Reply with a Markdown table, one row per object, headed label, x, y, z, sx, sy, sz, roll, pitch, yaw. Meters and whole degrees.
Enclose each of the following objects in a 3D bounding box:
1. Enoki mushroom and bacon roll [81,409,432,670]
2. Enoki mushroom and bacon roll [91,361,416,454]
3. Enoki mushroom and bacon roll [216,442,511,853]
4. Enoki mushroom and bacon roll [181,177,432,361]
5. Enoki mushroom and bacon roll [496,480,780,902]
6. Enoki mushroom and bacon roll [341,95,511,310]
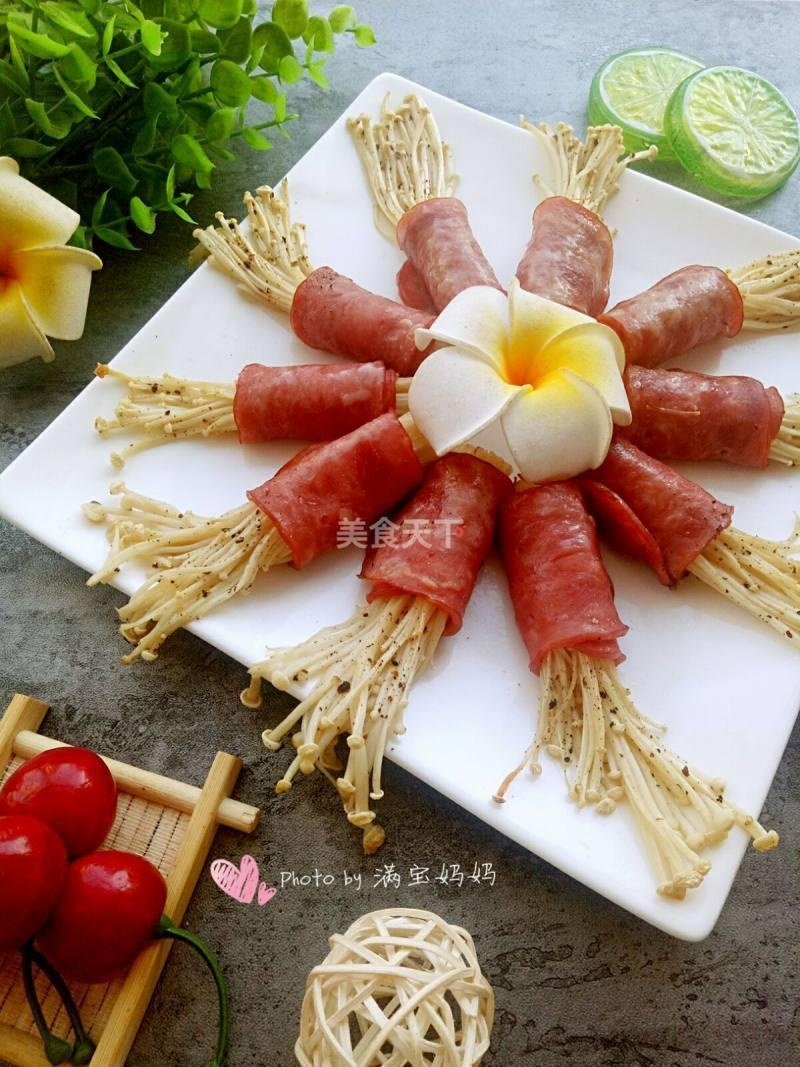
| label | x | y | z | sx | sy | sz | roll | pitch | yaw |
| --- | --- | --- | --- | --- | --- | --- | --- | --- | --- |
| Enoki mushroom and bacon roll | -0.188 | -0.023 | 1.318 | 0.469 | 0.122 | 0.253 | -25 | 46 | 3 |
| Enoki mushroom and bacon roll | -0.185 | -0.189 | 1.392 | 0.521 | 0.109 | 0.111 | -2 | 22 | 0 |
| Enoki mushroom and bacon roll | 0.008 | 0.149 | 1.341 | 0.293 | 0.182 | 0.522 | 22 | 68 | 29 |
| Enoki mushroom and bacon roll | -0.117 | -0.373 | 1.470 | 0.407 | 0.131 | 0.252 | 18 | 52 | 23 |
| Enoki mushroom and bacon roll | 0.270 | 0.199 | 1.244 | 0.278 | 0.128 | 0.497 | -21 | 55 | 3 |
| Enoki mushroom and bacon roll | 0.060 | -0.514 | 1.590 | 0.209 | 0.114 | 0.418 | -31 | 62 | 14 |
